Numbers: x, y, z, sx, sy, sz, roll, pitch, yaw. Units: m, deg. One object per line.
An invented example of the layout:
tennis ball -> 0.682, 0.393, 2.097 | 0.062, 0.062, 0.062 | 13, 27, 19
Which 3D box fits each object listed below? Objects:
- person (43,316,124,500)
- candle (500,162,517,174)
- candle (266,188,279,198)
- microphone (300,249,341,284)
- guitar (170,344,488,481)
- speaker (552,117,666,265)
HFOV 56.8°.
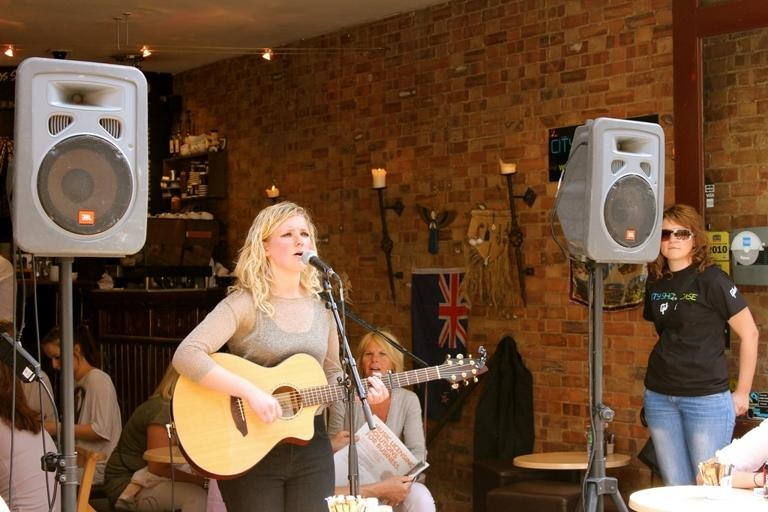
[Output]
person -> -2.263, 1.062, 5.177 | 0.683, 1.061, 0.608 | -12, 9, -32
candle -> 0.964, -0.676, 5.564 | 0.114, 0.102, 0.103 | -2, -1, 12
candle -> -1.104, -0.634, 7.052 | 0.108, 0.103, 0.100 | 9, -12, -31
microphone -> -0.275, 0.038, 3.084 | 0.078, 0.074, 0.287 | 35, 1, -33
guitar -> -0.238, 0.662, 3.334 | 1.481, 0.568, 0.167 | -7, -12, -24
speaker -> 1.114, -0.320, 3.557 | 0.534, 0.713, 0.297 | -1, -1, 15
